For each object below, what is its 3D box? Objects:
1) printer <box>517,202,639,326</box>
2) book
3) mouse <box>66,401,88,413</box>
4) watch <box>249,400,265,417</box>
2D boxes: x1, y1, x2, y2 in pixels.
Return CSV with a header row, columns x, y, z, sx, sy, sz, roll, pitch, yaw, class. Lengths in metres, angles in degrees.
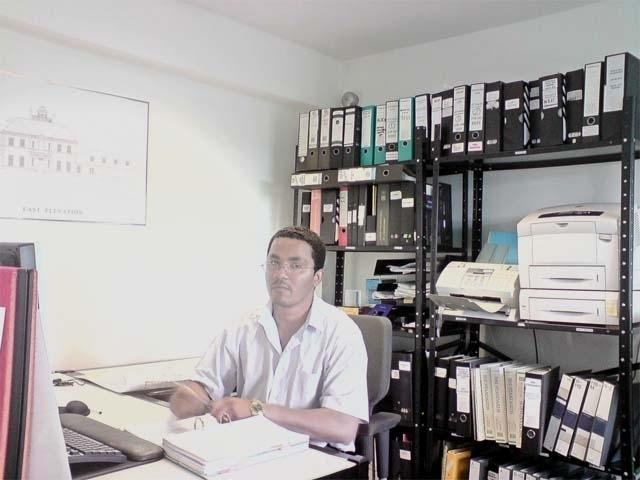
x,y,z,sx,sy,sz,roll,pitch,yaw,class
1.178,0.132,2.432,0.674,0.673,0.481,-2,-5,39,printer
-0.234,0.570,1.380,0.339,0.089,0.244,4,-6,-42,book
-0.799,0.545,1.623,0.043,0.012,0.045,16,10,-13,mouse
-0.196,0.524,1.521,0.030,0.037,0.010,12,-40,-20,watch
